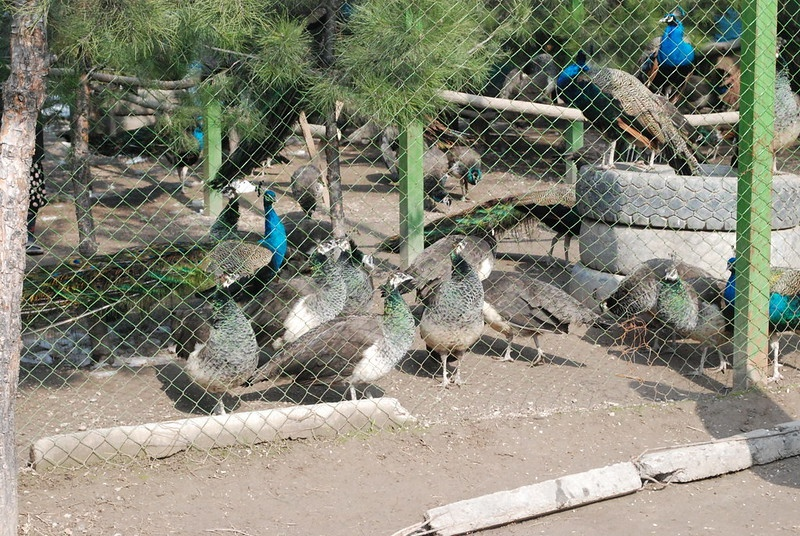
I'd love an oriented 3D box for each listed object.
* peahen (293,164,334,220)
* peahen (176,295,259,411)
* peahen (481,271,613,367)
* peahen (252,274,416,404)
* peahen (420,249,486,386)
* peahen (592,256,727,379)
[{"bbox_3d":[-1.165,-1.034,13.204,0.793,0.562,0.394,19,43,40],"label":"peahen"},{"bbox_3d":[-1.480,0.663,8.236,0.504,0.748,0.466,27,37,29],"label":"peahen"},{"bbox_3d":[1.237,0.374,9.408,1.543,1.026,0.602,-6,2,19],"label":"peahen"},{"bbox_3d":[-0.613,0.678,8.731,1.668,1.205,0.753,-4,6,12],"label":"peahen"},{"bbox_3d":[0.499,0.544,9.078,0.568,1.230,0.577,-22,41,-38],"label":"peahen"},{"bbox_3d":[2.859,0.390,9.714,0.696,1.127,1.672,11,19,28],"label":"peahen"}]
